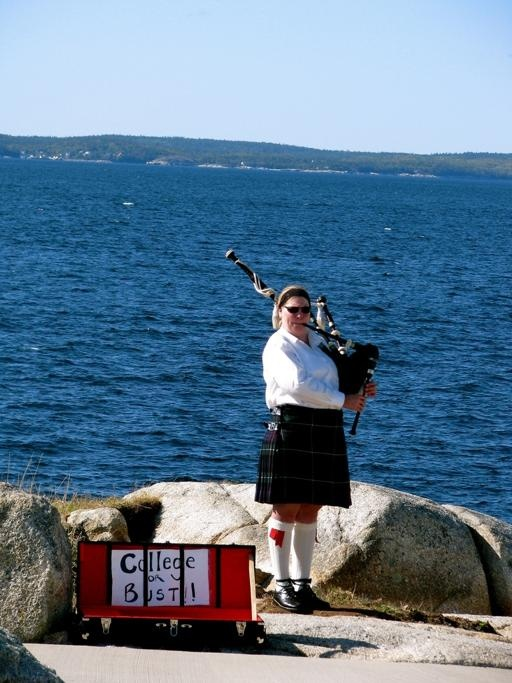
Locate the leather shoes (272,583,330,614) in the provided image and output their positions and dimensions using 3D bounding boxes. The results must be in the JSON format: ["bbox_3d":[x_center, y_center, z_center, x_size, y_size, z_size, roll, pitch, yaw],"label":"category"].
[{"bbox_3d":[0.328,1.920,10.901,0.201,0.138,0.364,4,-3,-45],"label":"leather shoes"}]

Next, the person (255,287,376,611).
[{"bbox_3d":[0.376,0.819,11.031,0.739,2.399,1.040,4,12,0],"label":"person"}]
